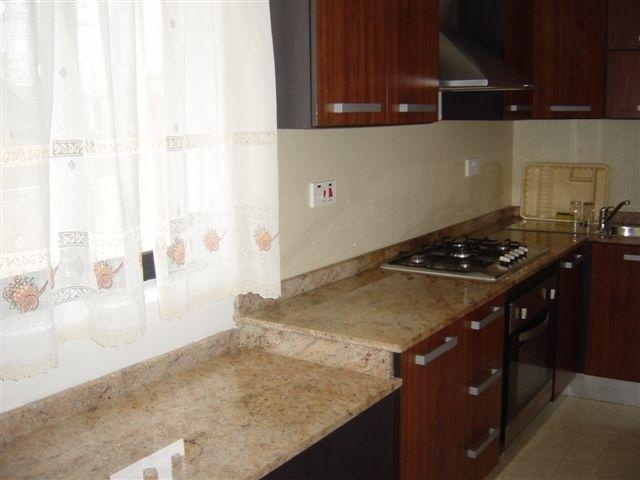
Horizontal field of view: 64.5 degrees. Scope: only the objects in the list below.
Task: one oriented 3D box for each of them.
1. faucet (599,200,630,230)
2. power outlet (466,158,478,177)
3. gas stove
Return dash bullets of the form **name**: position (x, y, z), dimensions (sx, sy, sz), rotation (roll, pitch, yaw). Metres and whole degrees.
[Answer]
- **faucet**: position (2.152, -0.199, 3.711), dimensions (0.188, 0.217, 0.420), rotation (7, 15, 31)
- **power outlet**: position (1.098, -0.527, 3.673), dimensions (0.029, 0.125, 0.218), rotation (9, 16, 37)
- **gas stove**: position (0.828, 0.083, 2.845), dimensions (0.616, 0.064, 0.842), rotation (10, 17, 40)
